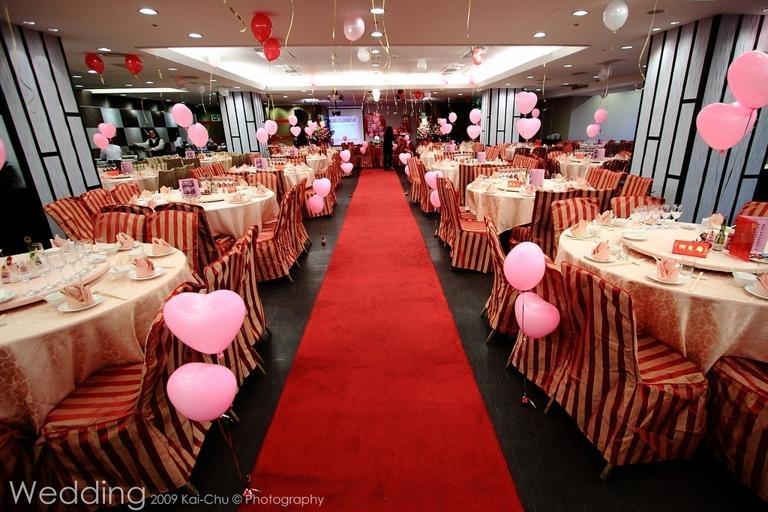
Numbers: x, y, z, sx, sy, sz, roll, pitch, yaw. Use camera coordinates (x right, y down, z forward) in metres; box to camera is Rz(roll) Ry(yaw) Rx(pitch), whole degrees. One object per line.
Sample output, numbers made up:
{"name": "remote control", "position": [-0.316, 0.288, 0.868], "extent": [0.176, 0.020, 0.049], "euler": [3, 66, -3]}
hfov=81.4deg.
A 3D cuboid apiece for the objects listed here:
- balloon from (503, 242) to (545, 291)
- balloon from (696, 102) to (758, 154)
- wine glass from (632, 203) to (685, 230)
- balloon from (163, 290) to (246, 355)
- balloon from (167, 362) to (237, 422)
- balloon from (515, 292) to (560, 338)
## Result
{"name": "balloon", "position": [1.131, 0.058, 3.850], "extent": [0.356, 0.460, 0.360], "euler": [3, 26, 13]}
{"name": "balloon", "position": [3.290, -1.256, 4.337], "extent": [0.301, 0.459, 0.476], "euler": [-9, 15, -31]}
{"name": "wine glass", "position": [2.711, -0.396, 4.454], "extent": [0.360, 0.135, 0.275], "euler": [-10, 13, -33]}
{"name": "balloon", "position": [-1.290, 0.411, 3.359], "extent": [0.578, 0.573, 0.410], "euler": [-4, 8, -16]}
{"name": "balloon", "position": [-1.289, 0.965, 3.176], "extent": [0.424, 0.266, 0.431], "euler": [1, 22, -34]}
{"name": "balloon", "position": [1.298, 0.486, 3.758], "extent": [0.229, 0.287, 0.300], "euler": [2, 29, -48]}
